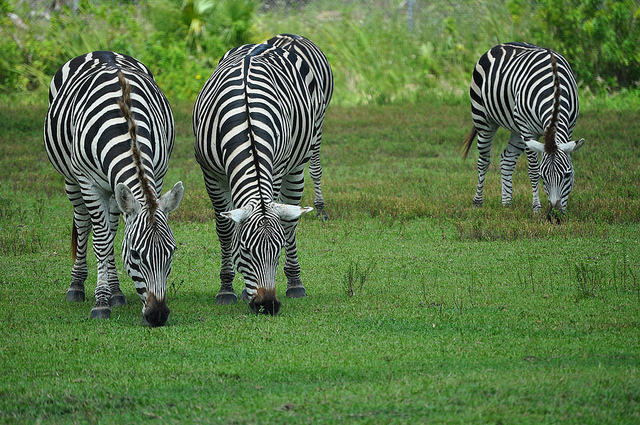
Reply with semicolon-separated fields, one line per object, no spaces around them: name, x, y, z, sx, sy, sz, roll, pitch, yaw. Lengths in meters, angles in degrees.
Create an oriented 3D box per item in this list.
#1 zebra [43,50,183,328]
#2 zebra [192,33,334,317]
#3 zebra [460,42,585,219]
zebra;-3.305;-0.486;15.927;1.464;4.460;2.671;3;-2;-36
zebra;-1.032;-0.771;16.403;1.929;4.790;2.648;2;-2;-4
zebra;4.124;-1.748;20.234;1.314;3.767;2.787;3;-2;-27
